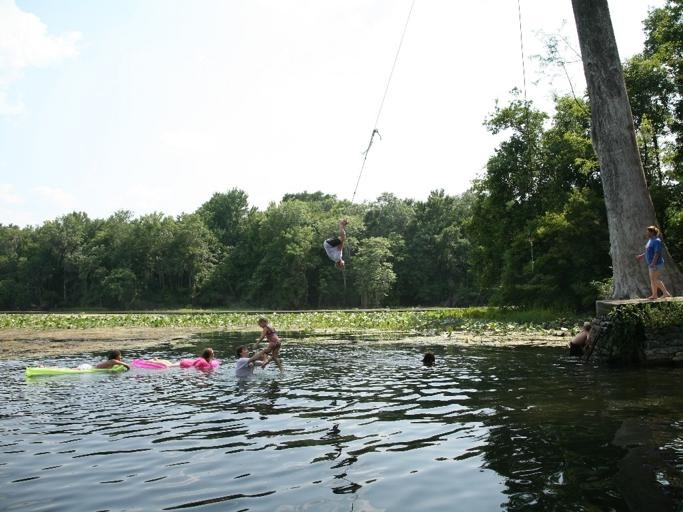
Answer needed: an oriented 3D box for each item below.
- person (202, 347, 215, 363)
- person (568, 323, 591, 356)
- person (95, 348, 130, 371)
[{"bbox_3d":[-4.613,3.405,20.771,0.381,0.478,1.052,0,-6,-10],"label":"person"},{"bbox_3d":[8.646,2.981,21.682,0.722,1.166,1.216,-5,-7,33],"label":"person"},{"bbox_3d":[-7.615,3.492,20.063,1.072,0.586,0.743,3,-4,-37],"label":"person"}]
